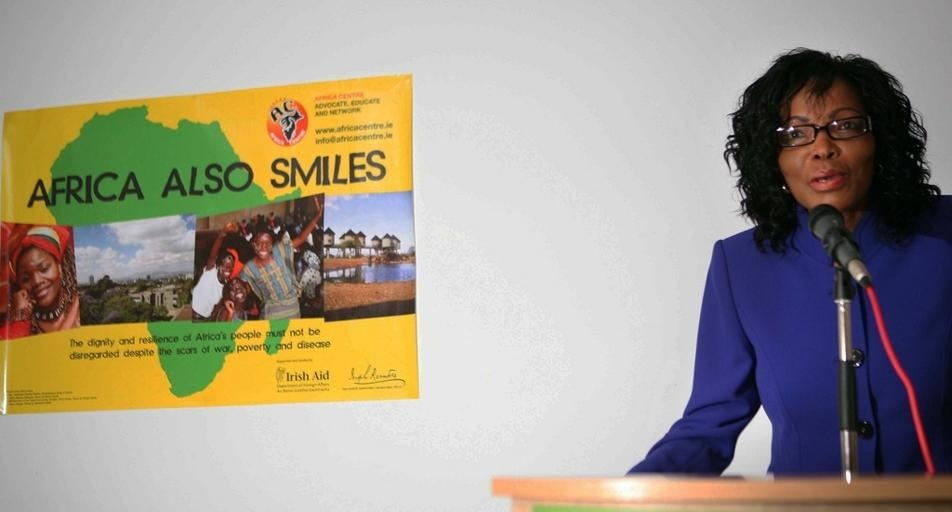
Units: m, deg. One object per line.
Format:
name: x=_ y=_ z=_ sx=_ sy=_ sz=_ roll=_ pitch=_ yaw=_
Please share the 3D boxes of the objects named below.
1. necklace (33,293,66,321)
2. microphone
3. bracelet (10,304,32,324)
necklace: x=-2.323 y=0.285 z=4.629 sx=0.185 sy=0.128 sz=0.010 roll=-3 pitch=-10 yaw=6
microphone: x=1.342 y=-0.050 z=3.141 sx=0.127 sy=0.414 sz=0.125 roll=-32 pitch=-55 yaw=9
bracelet: x=-2.497 y=0.315 z=4.641 sx=0.135 sy=0.090 sz=0.022 roll=-4 pitch=-10 yaw=14
